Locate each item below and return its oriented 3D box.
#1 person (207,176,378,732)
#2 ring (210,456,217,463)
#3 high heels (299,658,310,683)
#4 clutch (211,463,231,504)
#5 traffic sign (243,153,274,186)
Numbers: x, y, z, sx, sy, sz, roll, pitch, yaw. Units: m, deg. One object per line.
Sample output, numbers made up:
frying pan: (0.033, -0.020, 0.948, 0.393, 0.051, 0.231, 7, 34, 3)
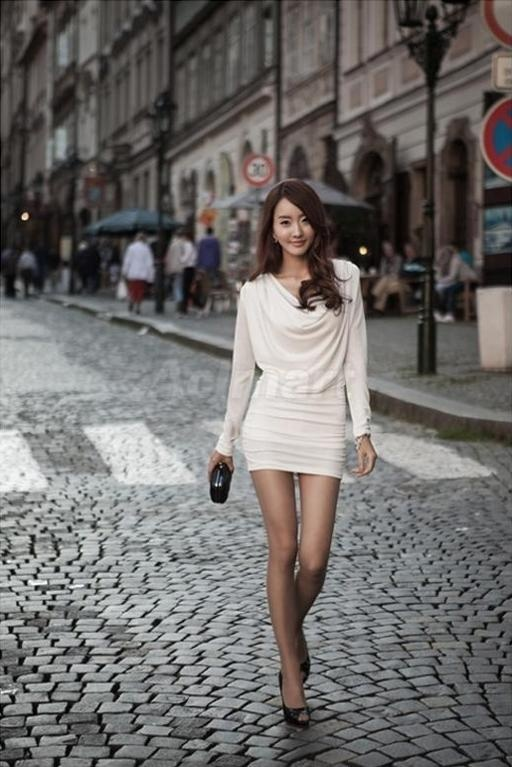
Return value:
person: (0.136, 0.149, 2.771, 0.392, 1.439, 0.484, -2, 5, -36)
ring: (-0.122, 0.222, 2.863, 0.016, 0.020, 0.020, -4, 2, 0)
high heels: (0.139, 0.846, 2.878, 0.032, 0.086, 0.033, -2, 11, 0)
clutch: (-0.102, 0.286, 2.793, 0.055, 0.056, 0.114, -2, 42, 10)
traffic sign: (-0.021, -3.643, 16.874, 0.573, 0.526, 0.126, -1, 6, -25)
